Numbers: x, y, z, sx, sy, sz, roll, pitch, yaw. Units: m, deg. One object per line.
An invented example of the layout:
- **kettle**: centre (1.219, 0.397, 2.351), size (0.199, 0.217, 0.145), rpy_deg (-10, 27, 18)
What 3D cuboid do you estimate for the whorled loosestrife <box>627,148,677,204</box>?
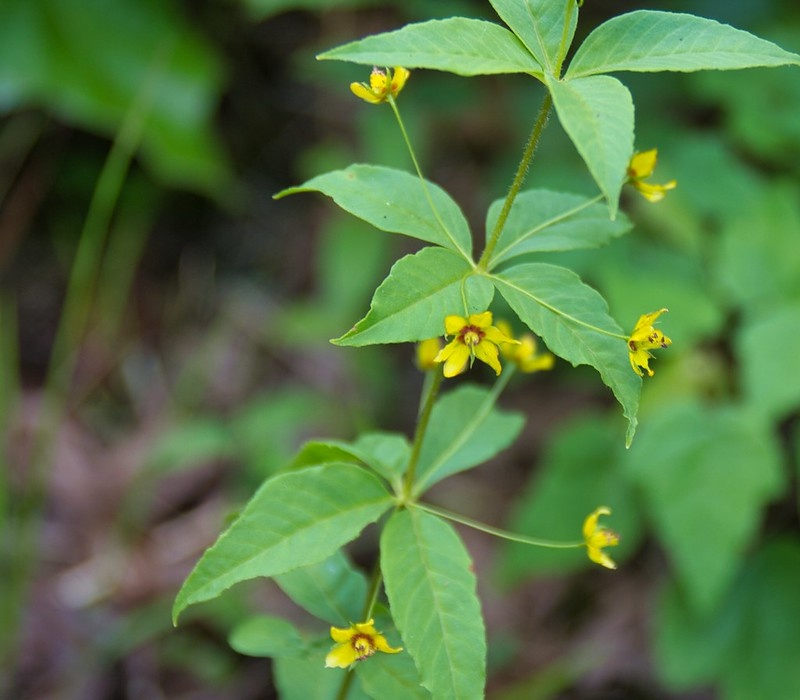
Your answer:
- **whorled loosestrife**: centre (0.584, -0.414, 1.910), size (0.095, 0.131, 0.140), rpy_deg (-5, 39, 11)
